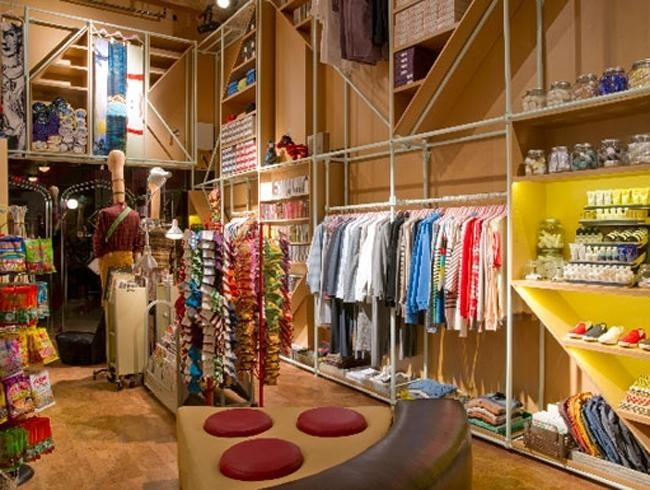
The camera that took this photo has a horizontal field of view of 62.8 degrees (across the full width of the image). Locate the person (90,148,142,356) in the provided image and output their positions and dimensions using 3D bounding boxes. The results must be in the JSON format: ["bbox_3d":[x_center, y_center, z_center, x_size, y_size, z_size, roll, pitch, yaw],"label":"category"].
[{"bbox_3d":[-2.485,-0.056,6.449,0.545,2.195,0.434,-3,26,-25],"label":"person"}]
